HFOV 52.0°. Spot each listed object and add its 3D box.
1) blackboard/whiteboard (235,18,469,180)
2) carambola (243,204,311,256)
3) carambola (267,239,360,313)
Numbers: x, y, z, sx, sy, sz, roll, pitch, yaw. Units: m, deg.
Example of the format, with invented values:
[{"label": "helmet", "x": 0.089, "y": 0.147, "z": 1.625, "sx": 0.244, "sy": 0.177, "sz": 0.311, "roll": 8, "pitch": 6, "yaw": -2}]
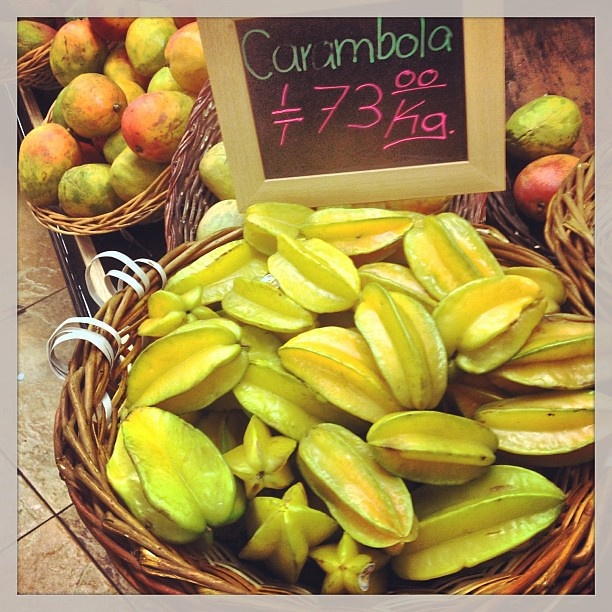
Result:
[{"label": "blackboard/whiteboard", "x": 0.071, "y": -0.300, "z": 0.882, "sx": 0.278, "sy": 0.213, "sz": 0.017, "roll": -4, "pitch": 27, "yaw": 3}, {"label": "carambola", "x": -0.045, "y": -0.118, "z": 0.906, "sx": 0.105, "sy": 0.060, "sz": 0.027, "roll": -7, "pitch": -2, "yaw": -15}, {"label": "carambola", "x": 0.011, "y": -0.038, "z": 0.845, "sx": 0.092, "sy": 0.063, "sz": 0.103, "roll": -14, "pitch": 28, "yaw": -23}]
